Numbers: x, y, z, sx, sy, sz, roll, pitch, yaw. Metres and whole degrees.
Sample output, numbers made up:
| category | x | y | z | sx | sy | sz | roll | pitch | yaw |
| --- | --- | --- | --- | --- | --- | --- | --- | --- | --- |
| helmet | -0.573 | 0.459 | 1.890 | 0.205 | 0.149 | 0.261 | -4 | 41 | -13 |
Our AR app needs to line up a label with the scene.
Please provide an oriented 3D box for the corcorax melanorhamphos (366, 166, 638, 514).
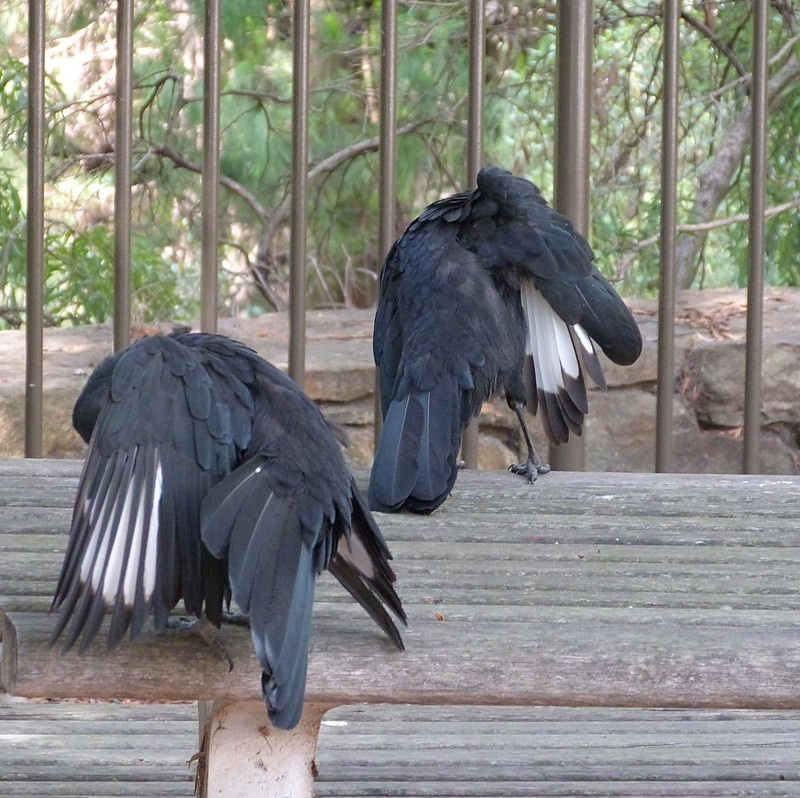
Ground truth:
| category | x | y | z | sx | sy | sz | roll | pitch | yaw |
| --- | --- | --- | --- | --- | --- | --- | --- | --- | --- |
| corcorax melanorhamphos | 0.240 | -0.128 | 5.488 | 0.637 | 0.673 | 0.932 | -1 | 17 | 20 |

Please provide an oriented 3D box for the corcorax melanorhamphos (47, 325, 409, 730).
| category | x | y | z | sx | sy | sz | roll | pitch | yaw |
| --- | --- | --- | --- | --- | --- | --- | --- | --- | --- |
| corcorax melanorhamphos | -0.383 | 0.206 | 4.502 | 0.817 | 0.680 | 0.723 | 18 | 15 | 41 |
